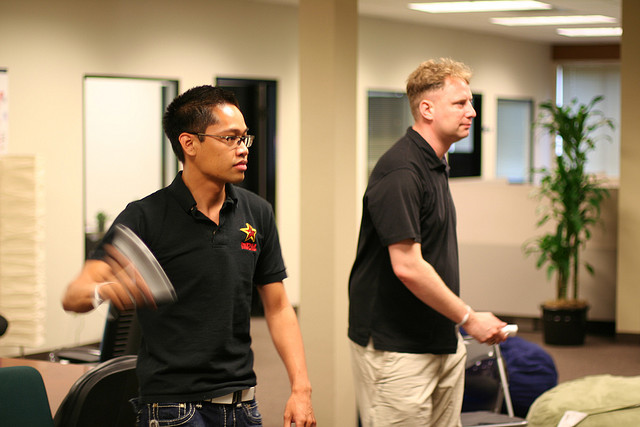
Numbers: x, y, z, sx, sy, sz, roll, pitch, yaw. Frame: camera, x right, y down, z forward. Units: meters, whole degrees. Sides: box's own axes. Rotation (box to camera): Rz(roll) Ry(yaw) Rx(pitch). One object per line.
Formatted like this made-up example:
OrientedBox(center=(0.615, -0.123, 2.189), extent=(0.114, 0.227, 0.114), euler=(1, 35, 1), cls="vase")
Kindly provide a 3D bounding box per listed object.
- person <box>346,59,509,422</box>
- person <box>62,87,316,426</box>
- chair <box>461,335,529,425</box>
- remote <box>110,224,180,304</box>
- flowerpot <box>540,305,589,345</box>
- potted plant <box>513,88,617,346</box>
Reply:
OrientedBox(center=(0.410, 0.119, 2.521), extent=(0.601, 1.527, 0.304), euler=(-2, 2, -5), cls="person")
OrientedBox(center=(-0.462, 0.160, 2.142), extent=(0.789, 1.210, 0.314), euler=(-3, 2, -22), cls="person")
OrientedBox(center=(0.871, 0.857, 3.138), extent=(0.322, 0.439, 0.383), euler=(-2, 2, 12), cls="chair")
OrientedBox(center=(-0.572, 0.172, 2.013), extent=(0.206, 0.266, 0.125), euler=(-3, 2, -17), cls="remote")
OrientedBox(center=(1.775, 0.811, 4.495), extent=(0.316, 0.239, 0.323), euler=(-2, 2, 22), cls="flowerpot")
OrientedBox(center=(1.858, -0.028, 4.720), extent=(0.718, 1.900, 0.908), euler=(-2, 2, 18), cls="potted plant")
